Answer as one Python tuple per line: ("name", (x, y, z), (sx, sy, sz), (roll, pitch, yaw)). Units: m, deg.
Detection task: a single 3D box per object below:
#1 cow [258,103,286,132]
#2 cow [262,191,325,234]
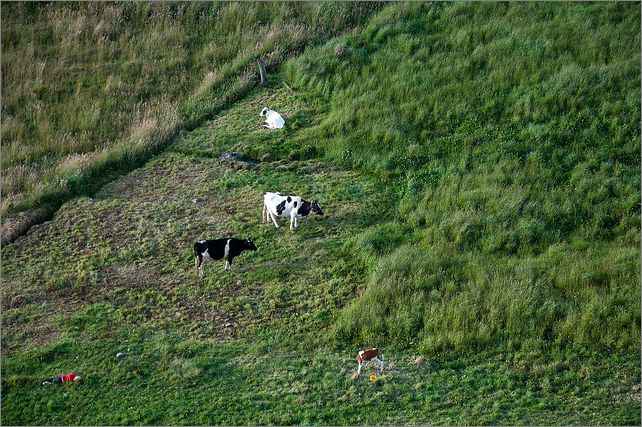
("cow", (-1.622, -3.111, 40.501), (0.538, 0.331, 0.768), (-41, 70, -6))
("cow", (-0.973, -0.062, 37.540), (2.339, 1.452, 0.835), (4, 29, -2))
